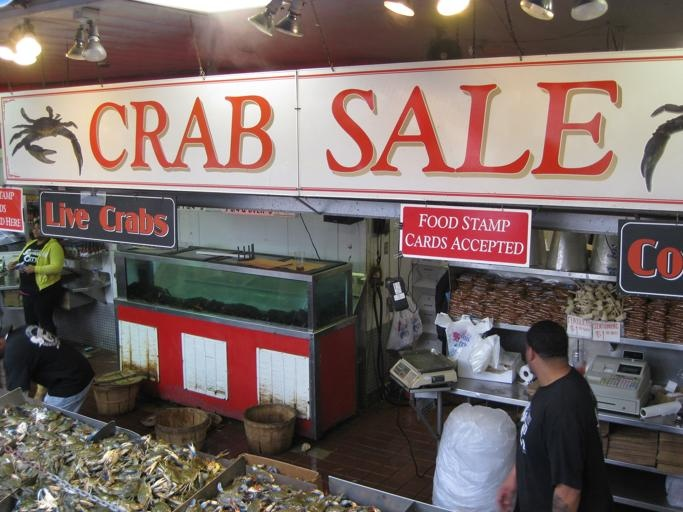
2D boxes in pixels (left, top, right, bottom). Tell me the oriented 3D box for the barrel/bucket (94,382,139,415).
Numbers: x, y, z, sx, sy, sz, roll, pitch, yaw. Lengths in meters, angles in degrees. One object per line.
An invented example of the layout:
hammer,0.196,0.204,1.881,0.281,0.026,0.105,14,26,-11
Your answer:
barrel/bucket,-2.845,1.810,6.740,0.456,0.305,0.454,-1,0,0

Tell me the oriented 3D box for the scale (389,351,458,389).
scale,0.790,1.145,5.305,0.511,0.167,0.585,-4,7,-17

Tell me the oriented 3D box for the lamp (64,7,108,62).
lamp,-2.066,-1.850,4.384,0.276,0.483,0.294,0,2,-5

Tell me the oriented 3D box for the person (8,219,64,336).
person,-4.326,0.454,7.570,0.692,1.874,0.614,4,6,-3

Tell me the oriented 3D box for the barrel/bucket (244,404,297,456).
barrel/bucket,-0.804,1.971,6.002,0.593,0.467,0.408,0,3,-8
